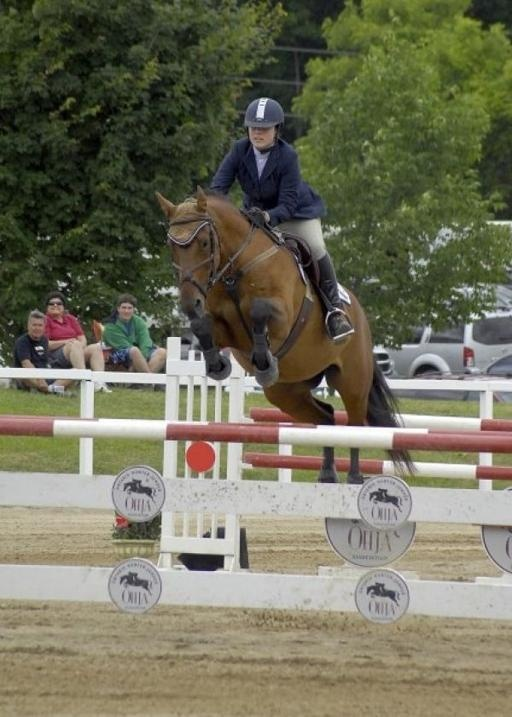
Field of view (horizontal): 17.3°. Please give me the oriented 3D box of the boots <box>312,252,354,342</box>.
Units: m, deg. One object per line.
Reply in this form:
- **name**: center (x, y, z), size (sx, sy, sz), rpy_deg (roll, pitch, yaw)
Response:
- **boots**: center (0.476, -0.337, 10.385), size (0.165, 0.155, 0.605), rpy_deg (-27, 49, 24)

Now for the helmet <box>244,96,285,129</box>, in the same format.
- **helmet**: center (0.061, -1.469, 10.203), size (0.227, 0.178, 0.215), rpy_deg (4, 11, 0)

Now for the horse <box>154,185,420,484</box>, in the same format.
- **horse**: center (0.197, -0.127, 10.508), size (0.589, 1.229, 2.676), rpy_deg (-7, -23, 30)
